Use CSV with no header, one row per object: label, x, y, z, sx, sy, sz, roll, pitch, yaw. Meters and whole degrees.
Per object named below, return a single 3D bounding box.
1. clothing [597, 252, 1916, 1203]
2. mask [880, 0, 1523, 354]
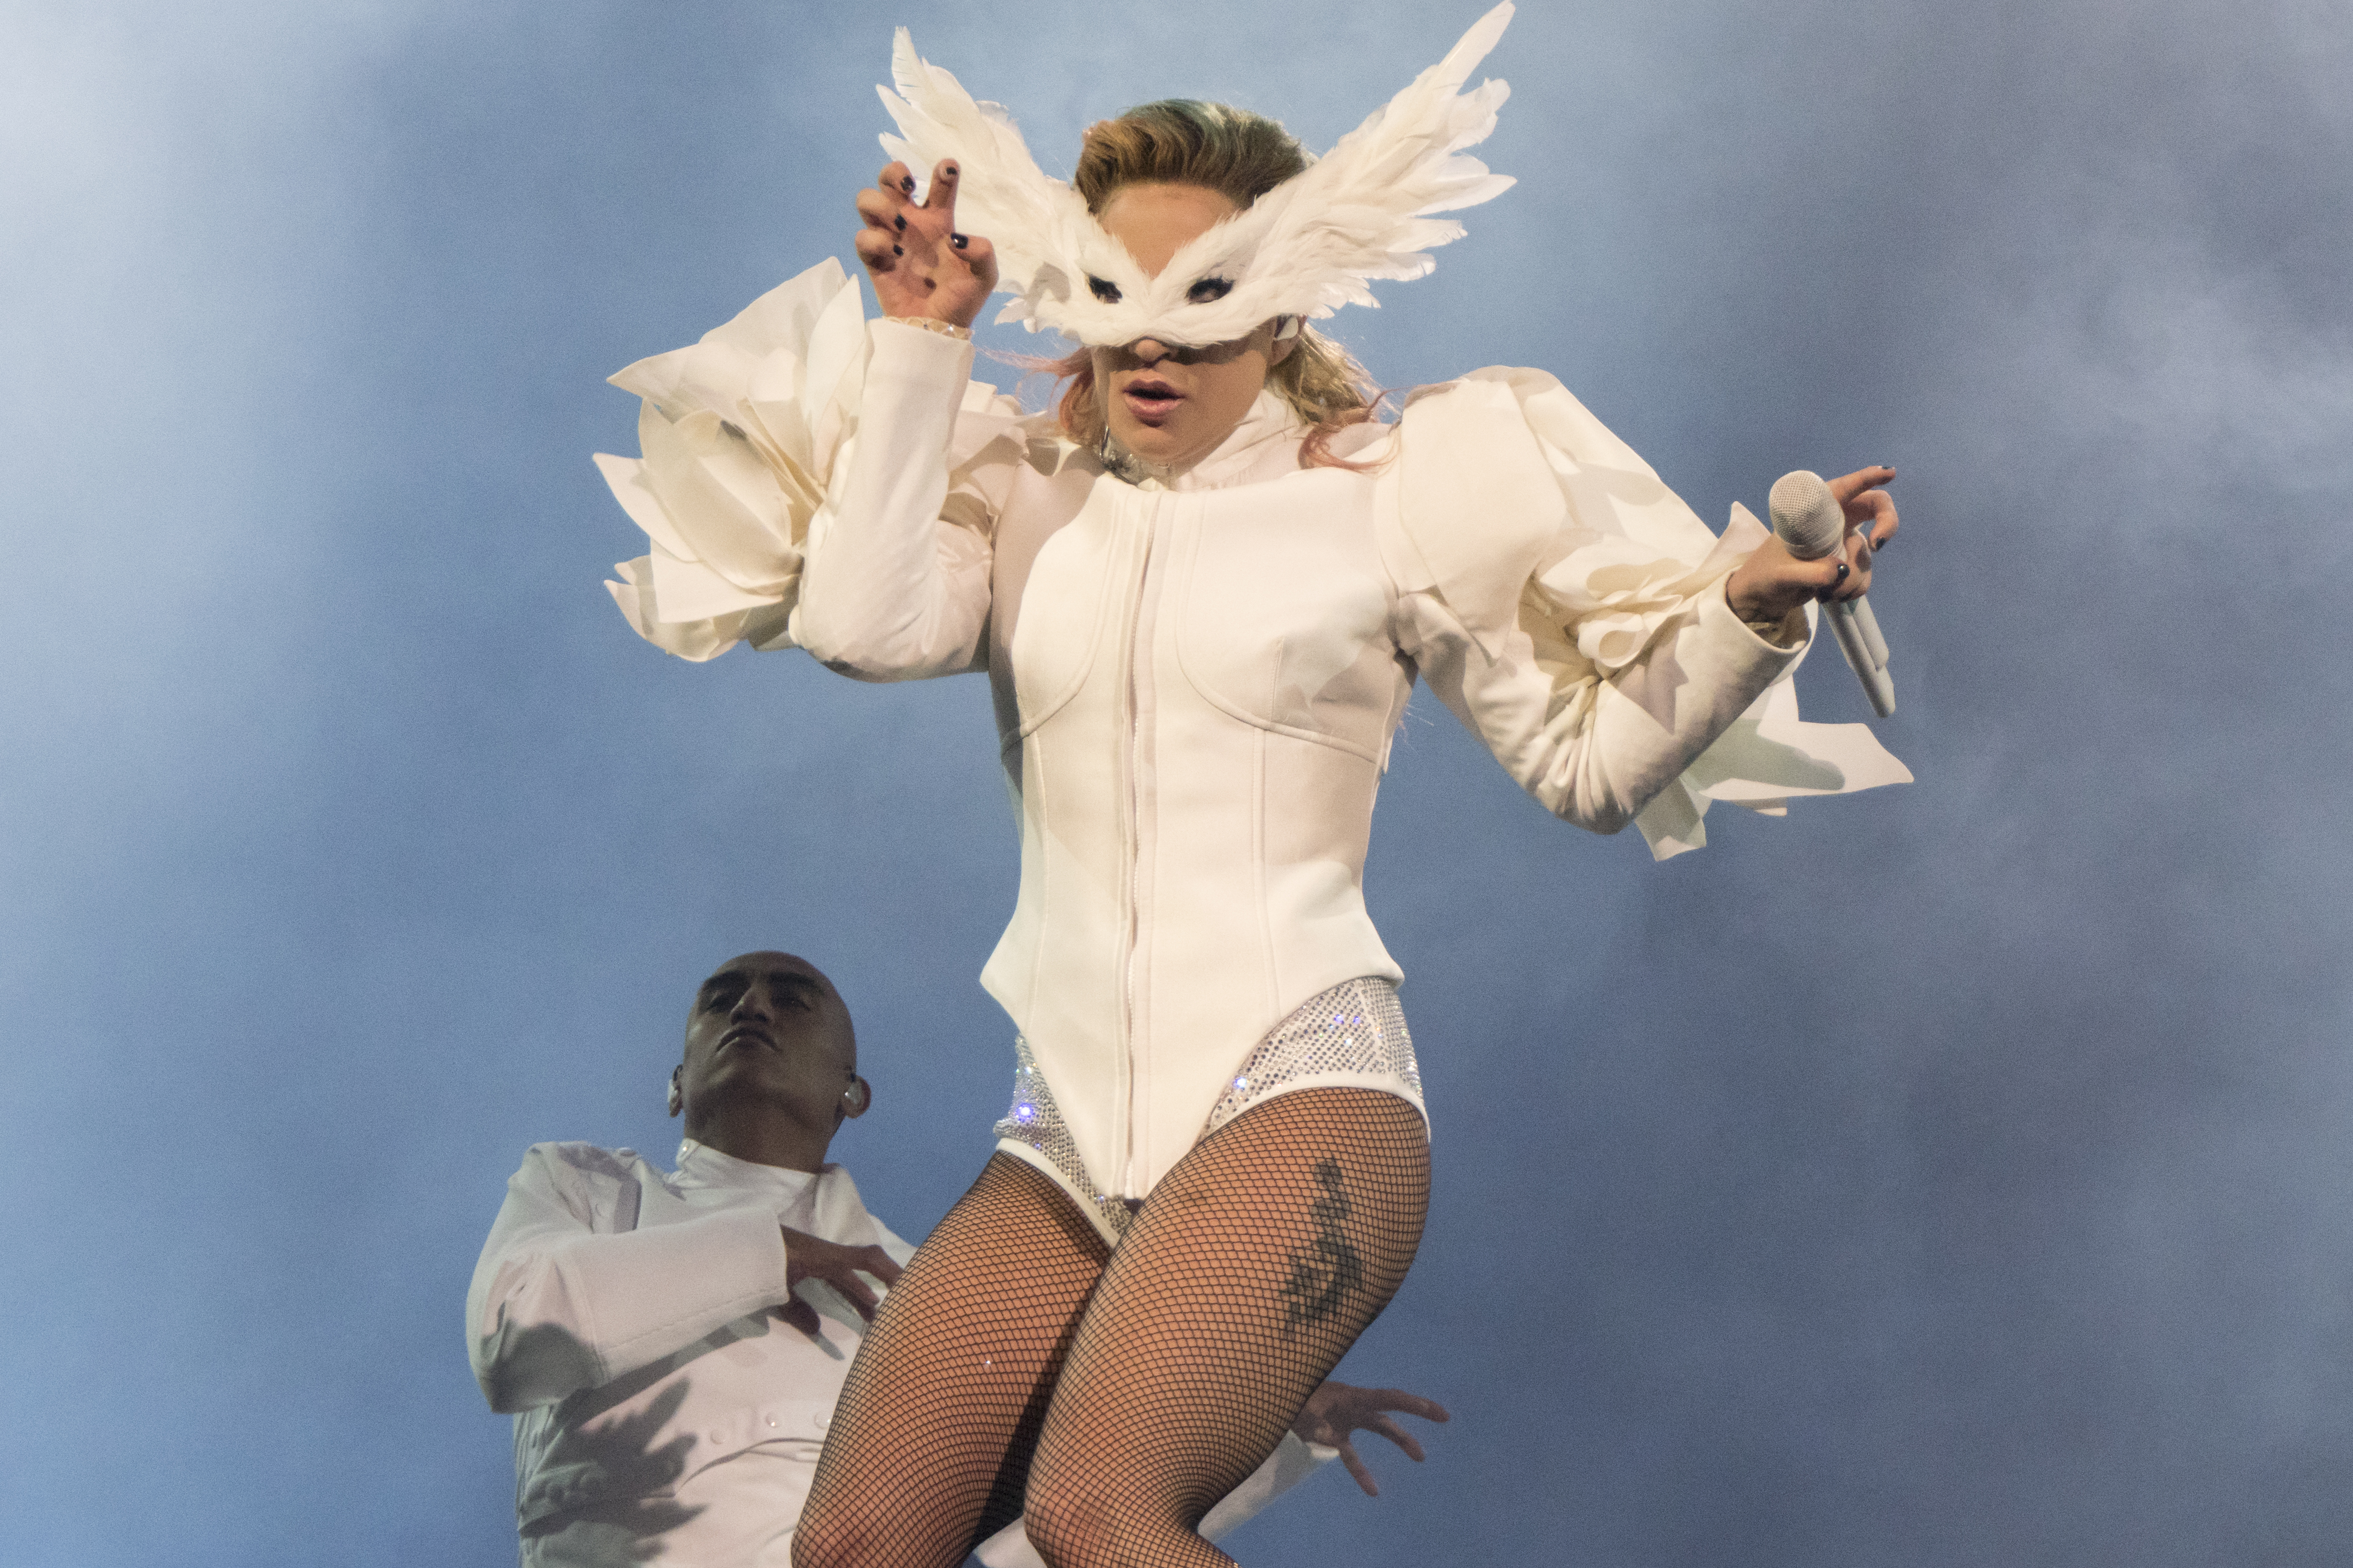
clothing,0.159,-0.077,6.409,1.284,0.944,0.521,-2,-15,14
mask,0.045,-0.801,6.433,0.612,0.337,0.151,0,5,10
